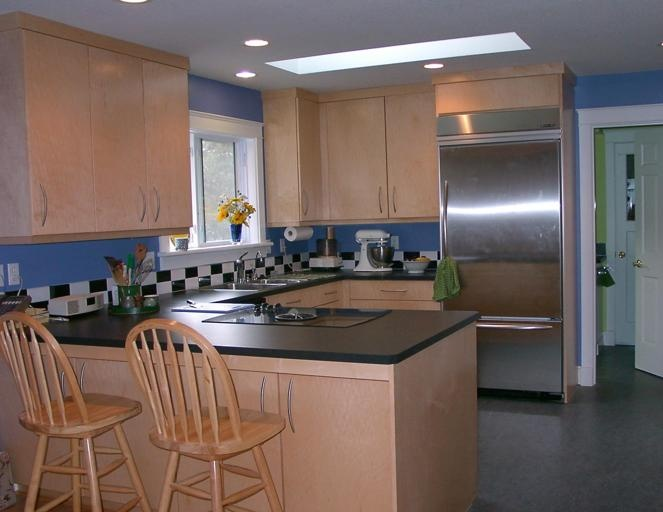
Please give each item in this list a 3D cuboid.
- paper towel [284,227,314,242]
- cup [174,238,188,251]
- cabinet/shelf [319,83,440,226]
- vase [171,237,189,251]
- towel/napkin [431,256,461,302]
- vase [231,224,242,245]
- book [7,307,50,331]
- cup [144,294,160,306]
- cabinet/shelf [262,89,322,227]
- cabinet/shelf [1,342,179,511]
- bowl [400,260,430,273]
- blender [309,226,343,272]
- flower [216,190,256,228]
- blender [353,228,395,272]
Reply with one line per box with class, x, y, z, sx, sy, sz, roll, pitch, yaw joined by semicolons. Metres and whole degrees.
paper towel;-0.347;-0.219;5.424;0.221;0.135;0.324;1;6;23
cup;-1.188;-0.092;4.381;0.088;0.068;0.092;0;3;0
cabinet/shelf;0.601;-0.877;5.398;1.242;1.269;0.474;1;11;26
vase;-1.196;-0.094;4.381;0.102;0.080;0.095;2;5;9
towel/napkin;0.974;0.198;4.706;0.245;0.353;0.110;1;-10;17
vase;-0.830;-0.204;4.932;0.136;0.200;0.138;1;0;7
book;-1.786;0.353;3.302;0.182;0.063;0.188;6;-1;19
cup;-1.192;0.300;3.677;0.073;0.073;0.075;2;10;0
cabinet/shelf;-0.345;-0.911;5.400;0.412;1.243;0.610;1;8;26
cabinet/shelf;-1.161;0.831;2.737;1.013;0.663;0.364;-1;0;22
bowl;0.811;0.093;5.303;0.234;0.121;0.421;0;6;8
blender;-0.049;-0.058;5.699;0.407;0.603;0.358;1;2;15
flower;-0.815;-0.413;4.887;0.290;0.324;0.307;4;4;34
blender;0.424;-0.059;5.486;0.382;0.420;0.249;-1;4;19
